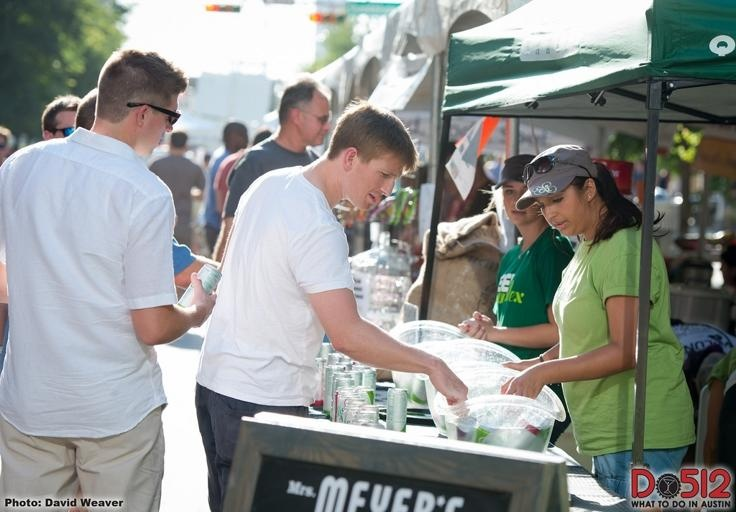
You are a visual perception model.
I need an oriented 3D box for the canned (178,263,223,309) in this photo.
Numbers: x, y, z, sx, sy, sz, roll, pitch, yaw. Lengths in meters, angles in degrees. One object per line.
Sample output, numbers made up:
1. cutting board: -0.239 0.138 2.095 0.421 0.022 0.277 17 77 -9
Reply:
1. canned: -0.844 0.133 5.316 0.165 0.253 0.171 3 10 -1
